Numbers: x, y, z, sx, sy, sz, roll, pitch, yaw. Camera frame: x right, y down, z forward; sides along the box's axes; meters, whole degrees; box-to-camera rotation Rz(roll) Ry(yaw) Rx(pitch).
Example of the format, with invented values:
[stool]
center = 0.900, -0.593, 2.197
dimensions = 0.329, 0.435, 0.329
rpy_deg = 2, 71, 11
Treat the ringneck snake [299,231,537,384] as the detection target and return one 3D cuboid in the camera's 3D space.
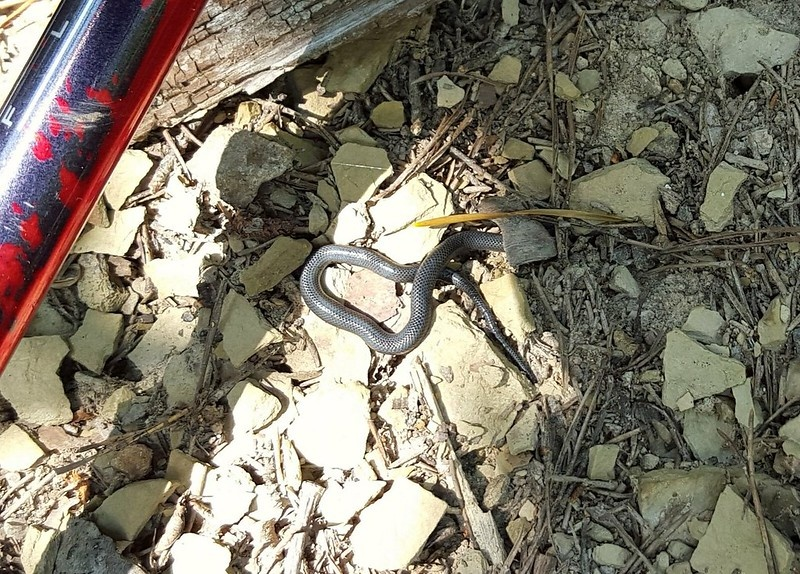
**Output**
[ringneck snake]
center = 0.075, 0.051, 4.287
dimensions = 1.334, 0.665, 0.525
rpy_deg = 5, -42, 8
